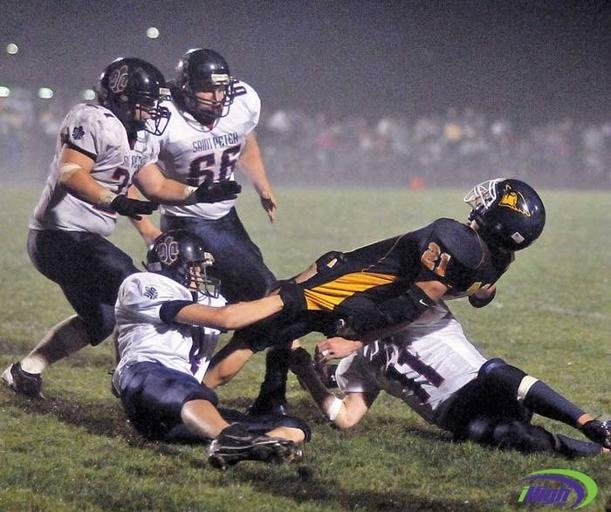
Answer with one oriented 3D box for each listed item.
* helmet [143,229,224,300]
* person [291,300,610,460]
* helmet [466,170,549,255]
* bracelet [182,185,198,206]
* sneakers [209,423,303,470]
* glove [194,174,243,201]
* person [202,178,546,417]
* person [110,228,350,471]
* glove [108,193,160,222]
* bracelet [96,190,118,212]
[{"bbox_3d":[-0.640,0.058,5.351,0.495,0.336,0.329,17,-3,-2],"label":"helmet"},{"bbox_3d":[0.896,0.731,5.192,1.620,0.421,0.823,19,-8,33],"label":"person"},{"bbox_3d":[1.129,-0.249,5.170,0.454,0.379,0.358,50,25,19],"label":"helmet"},{"bbox_3d":[-0.723,-0.382,5.845,0.099,0.105,0.109,14,-1,-21],"label":"bracelet"},{"bbox_3d":[-0.243,0.925,4.555,0.385,0.133,0.224,4,0,2],"label":"sneakers"},{"bbox_3d":[-0.534,-0.401,5.768,0.261,0.129,0.075,-4,-14,-3],"label":"glove"},{"bbox_3d":[0.322,0.190,5.252,2.292,0.717,0.835,-19,23,-6],"label":"person"},{"bbox_3d":[-0.173,0.695,5.424,1.491,1.662,0.860,-12,-31,2],"label":"person"},{"bbox_3d":[-0.997,-0.267,5.365,0.226,0.123,0.074,4,-29,2],"label":"glove"},{"bbox_3d":[-1.137,-0.323,5.370,0.108,0.108,0.104,43,-13,8],"label":"bracelet"}]
